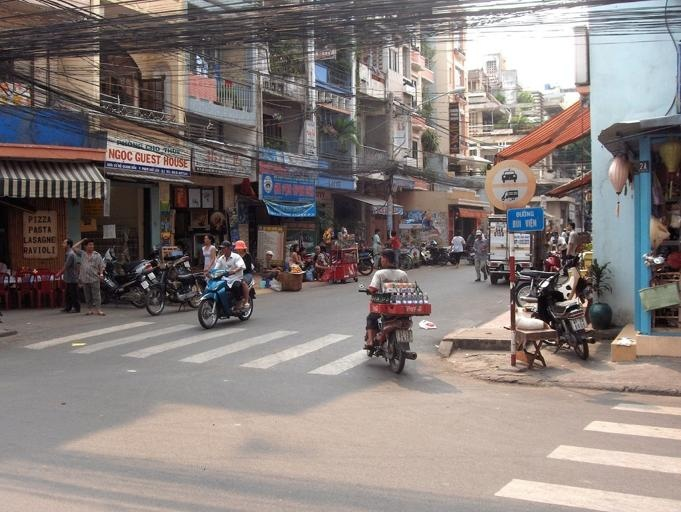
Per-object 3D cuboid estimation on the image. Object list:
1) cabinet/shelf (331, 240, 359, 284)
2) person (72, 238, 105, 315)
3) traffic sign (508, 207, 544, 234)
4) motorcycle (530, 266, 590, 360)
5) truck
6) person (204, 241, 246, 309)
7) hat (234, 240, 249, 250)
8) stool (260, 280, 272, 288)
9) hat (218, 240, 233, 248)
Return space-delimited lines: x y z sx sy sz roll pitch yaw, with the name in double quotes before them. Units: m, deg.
"cabinet/shelf" 0.104 0.190 26.737 0.494 1.427 1.472 0 0 20
"person" -5.985 0.495 18.505 0.589 1.680 0.946 -5 2 -19
"traffic sign" 3.019 -0.616 12.609 0.554 0.388 0.472 -4 2 10
"motorcycle" 3.886 1.096 13.461 0.752 1.051 1.544 -1 13 1
"truck" 5.466 -0.289 25.289 1.716 2.463 3.223 -1 -1 10
"person" -2.352 0.311 16.852 0.753 0.954 1.397 -3 -7 13
"hat" -2.297 -0.248 17.626 0.409 0.284 0.517 1 -2 -8
"stool" -2.351 0.865 24.515 0.582 0.190 0.308 -3 2 45
"hat" -2.482 -0.260 17.094 0.319 0.170 0.236 7 -2 -30
